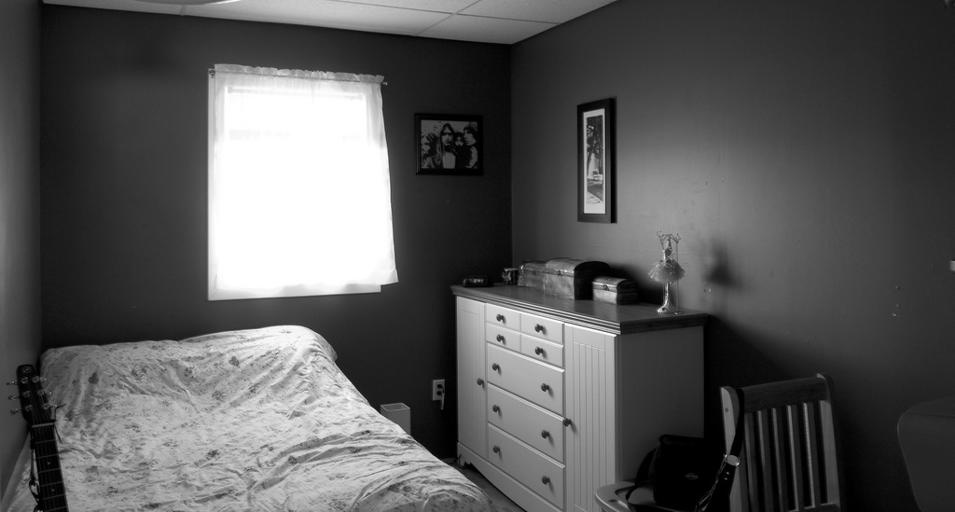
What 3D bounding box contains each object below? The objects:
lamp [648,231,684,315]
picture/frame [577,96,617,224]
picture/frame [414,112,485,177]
[{"bbox_3d":[1.348,0.117,4.642,0.231,0.525,0.410,1,8,18],"label":"lamp"},{"bbox_3d":[0.961,-0.759,5.249,0.112,0.973,0.437,-7,9,-35],"label":"picture/frame"},{"bbox_3d":[-0.283,-1.014,5.926,0.667,0.518,0.053,0,-3,-19],"label":"picture/frame"}]
